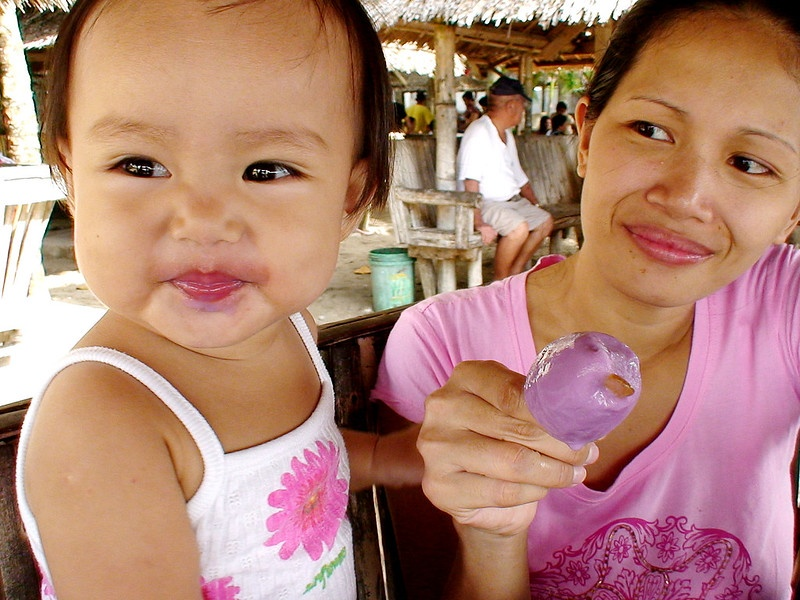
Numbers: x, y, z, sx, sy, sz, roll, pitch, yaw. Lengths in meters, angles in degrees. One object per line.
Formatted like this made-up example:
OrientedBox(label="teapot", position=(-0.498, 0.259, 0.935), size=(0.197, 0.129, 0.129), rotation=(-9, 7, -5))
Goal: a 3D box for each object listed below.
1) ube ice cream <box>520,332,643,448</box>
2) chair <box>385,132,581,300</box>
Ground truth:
OrientedBox(label="ube ice cream", position=(0.306, 0.171, 1.138), size=(0.186, 0.230, 0.111), rotation=(-4, 18, 8))
OrientedBox(label="chair", position=(1.319, -0.971, 7.082), size=(1.013, 1.220, 3.450), rotation=(24, 28, 34))
